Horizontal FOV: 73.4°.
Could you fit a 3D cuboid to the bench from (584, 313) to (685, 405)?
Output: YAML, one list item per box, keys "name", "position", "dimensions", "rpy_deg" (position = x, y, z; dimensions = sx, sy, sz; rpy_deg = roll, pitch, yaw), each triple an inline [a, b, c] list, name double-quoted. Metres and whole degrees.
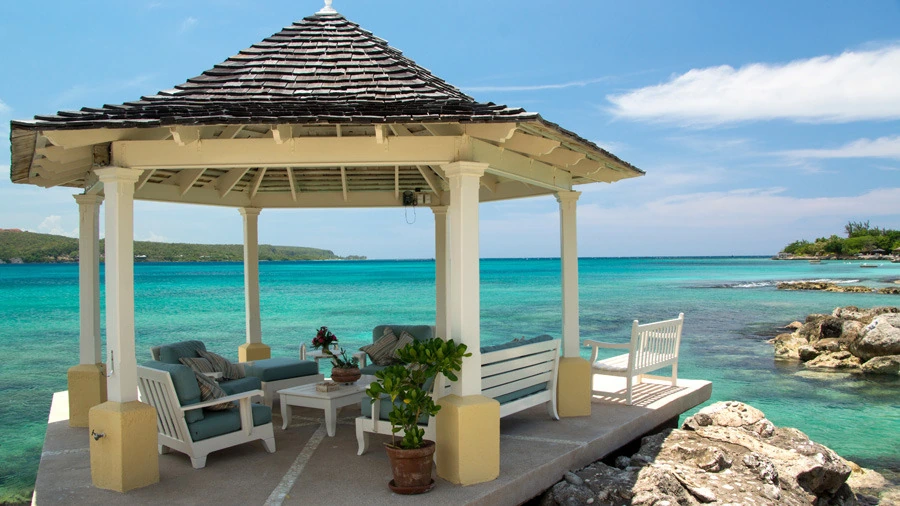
- name: "bench"
  position: [4.633, 2.549, 15.023]
  dimensions: [2.355, 1.967, 1.041]
  rpy_deg: [-2, 2, -37]

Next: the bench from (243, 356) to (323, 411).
- name: "bench"
  position: [-4.119, 2.934, 14.683]
  dimensions: [1.779, 0.736, 1.192]
  rpy_deg: [3, 6, 36]

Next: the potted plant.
- name: "potted plant"
  position: [-0.686, 3.184, 11.993]
  dimensions: [1.619, 2.965, 1.228]
  rpy_deg: [0, 3, 38]

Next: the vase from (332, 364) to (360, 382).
- name: "vase"
  position: [-2.433, 2.801, 14.012]
  dimensions: [0.492, 0.199, 0.449]
  rpy_deg: [-1, 2, -14]

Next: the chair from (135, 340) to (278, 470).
- name: "chair"
  position: [-5.319, 3.170, 13.384]
  dimensions: [3.100, 2.325, 2.448]
  rpy_deg: [4, -4, -43]
